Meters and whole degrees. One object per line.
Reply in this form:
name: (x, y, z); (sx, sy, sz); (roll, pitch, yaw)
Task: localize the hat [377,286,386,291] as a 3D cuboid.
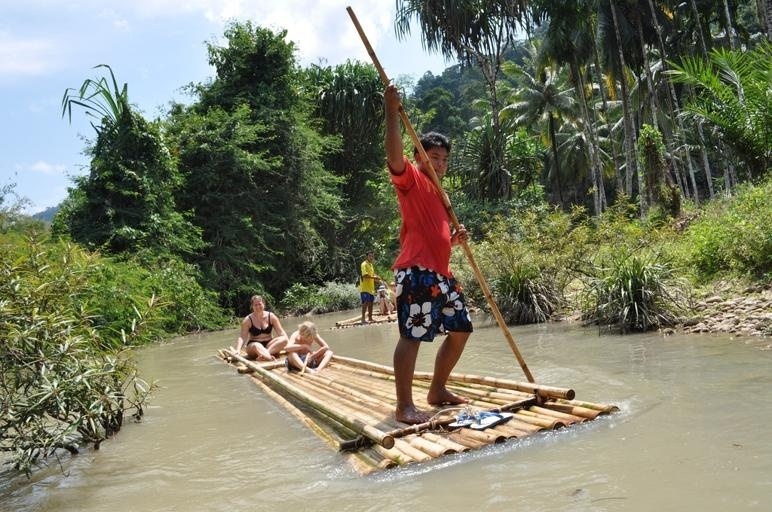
hat: (-0.150, 0.996, 17.858); (0.201, 0.075, 0.208); (-8, 1, 40)

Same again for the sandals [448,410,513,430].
sandals: (0.984, 1.689, 5.993); (0.450, 0.121, 0.258); (1, -5, -25)

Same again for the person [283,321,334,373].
person: (-1.223, 1.431, 9.094); (0.713, 0.828, 1.075); (3, -9, -17)

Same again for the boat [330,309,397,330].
boat: (-0.530, 1.807, 16.140); (1.285, 0.159, 0.671); (-9, 7, -39)

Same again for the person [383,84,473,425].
person: (0.371, -0.031, 6.105); (0.967, 3.504, 0.548); (-10, 11, -30)

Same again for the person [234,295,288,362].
person: (-2.146, 1.262, 10.247); (0.949, 1.242, 1.155); (-1, -4, -13)
